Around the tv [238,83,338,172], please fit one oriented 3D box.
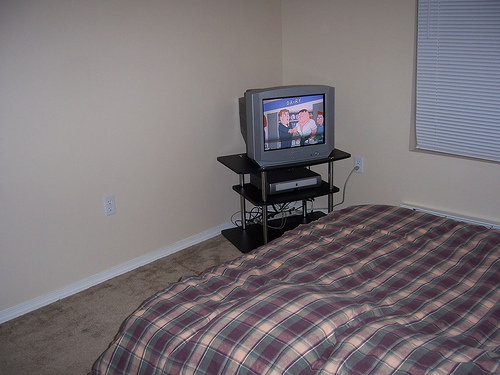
[{"bbox_3d":[0.340,-0.597,3.316,0.701,0.627,0.533,-7,32,-5],"label":"tv"}]
